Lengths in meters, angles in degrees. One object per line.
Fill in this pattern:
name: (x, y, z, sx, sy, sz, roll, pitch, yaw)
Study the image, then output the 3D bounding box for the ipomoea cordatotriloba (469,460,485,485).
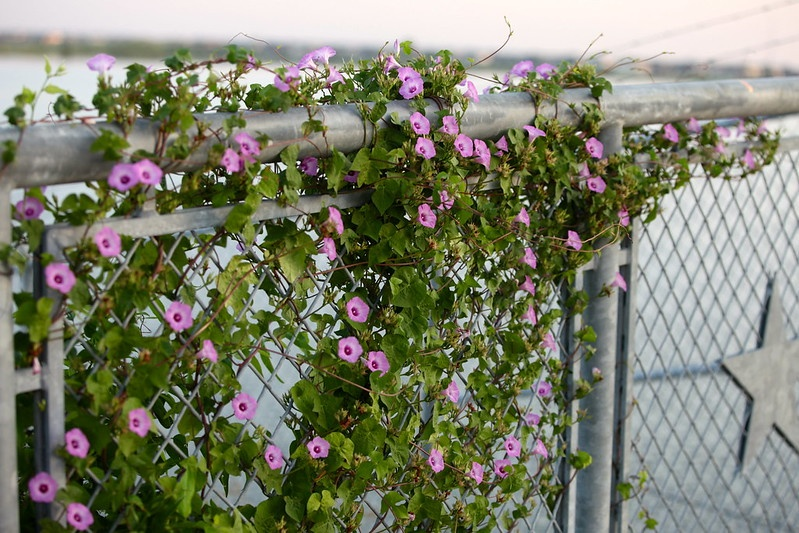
ipomoea cordatotriloba: (0.499, 1.347, 11.034, 0.054, 0.131, 0.111, -13, 11, 23)

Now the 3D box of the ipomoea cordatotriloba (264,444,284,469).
ipomoea cordatotriloba: (-0.808, 1.212, 10.780, 0.049, 0.132, 0.134, -6, 47, 49)

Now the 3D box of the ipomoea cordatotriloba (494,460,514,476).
ipomoea cordatotriloba: (0.677, 1.319, 11.040, 0.092, 0.112, 0.101, -17, -10, -10)
